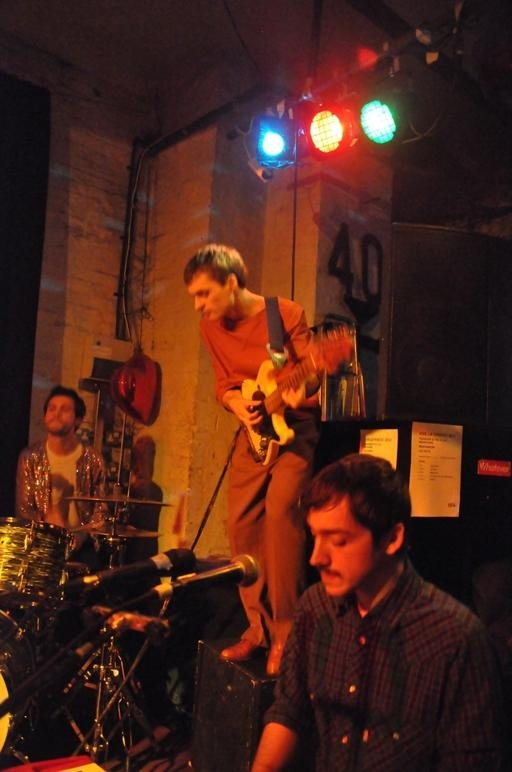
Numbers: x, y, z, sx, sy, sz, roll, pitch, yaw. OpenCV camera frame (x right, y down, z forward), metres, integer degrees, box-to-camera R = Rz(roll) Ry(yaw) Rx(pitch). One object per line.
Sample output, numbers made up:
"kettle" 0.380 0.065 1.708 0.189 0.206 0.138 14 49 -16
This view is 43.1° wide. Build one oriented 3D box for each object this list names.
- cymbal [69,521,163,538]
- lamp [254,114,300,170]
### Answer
"cymbal" -0.728 0.725 3.280 0.235 0.061 0.252 3 -9 2
"lamp" 0.114 -1.456 3.832 0.244 0.230 0.268 3 -7 3
